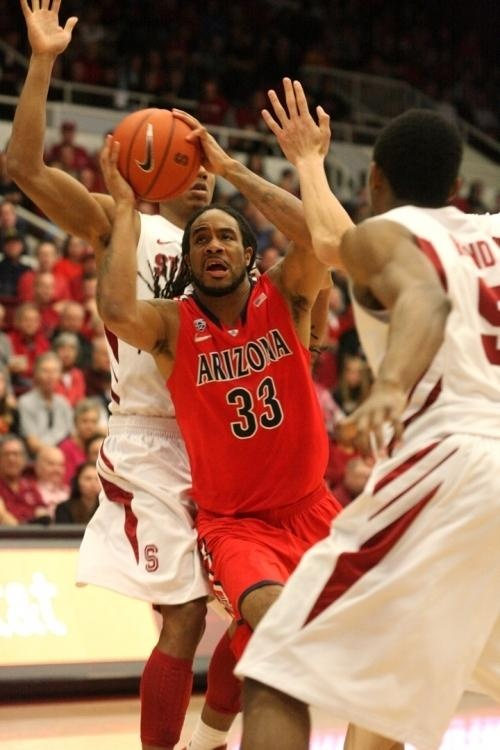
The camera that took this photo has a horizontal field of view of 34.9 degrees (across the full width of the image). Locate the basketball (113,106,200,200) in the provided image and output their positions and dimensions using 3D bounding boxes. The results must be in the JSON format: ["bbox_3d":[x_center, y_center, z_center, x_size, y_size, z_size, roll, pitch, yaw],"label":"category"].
[{"bbox_3d":[-0.266,-0.747,2.801,0.340,0.353,0.317,-2,-1,3],"label":"basketball"}]
